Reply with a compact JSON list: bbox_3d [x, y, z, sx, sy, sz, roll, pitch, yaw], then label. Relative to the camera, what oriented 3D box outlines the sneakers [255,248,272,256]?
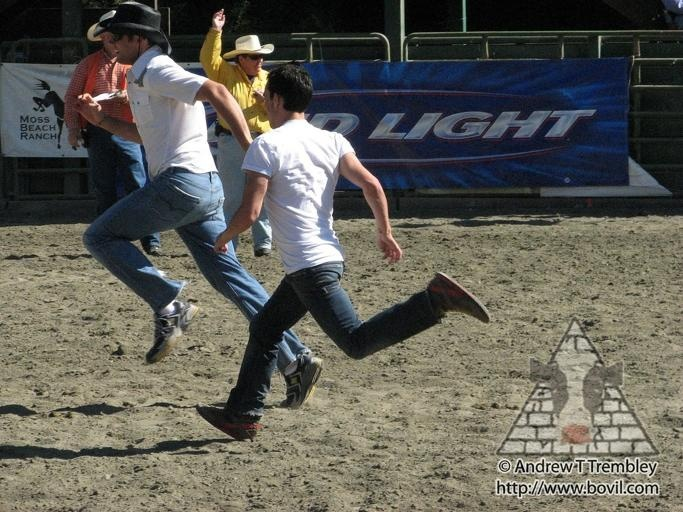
[{"bbox_3d":[-0.860,-0.038,9.453,0.250,0.075,0.147,-2,-7,6],"label":"sneakers"}]

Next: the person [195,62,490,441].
[{"bbox_3d":[-0.117,0.030,5.797,1.544,2.617,0.503,5,13,3],"label":"person"}]

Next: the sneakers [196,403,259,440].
[{"bbox_3d":[-0.780,1.155,5.909,0.502,0.124,0.193,20,15,9],"label":"sneakers"}]

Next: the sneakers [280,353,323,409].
[{"bbox_3d":[-0.281,0.883,6.073,0.289,0.458,0.182,24,28,-13],"label":"sneakers"}]
